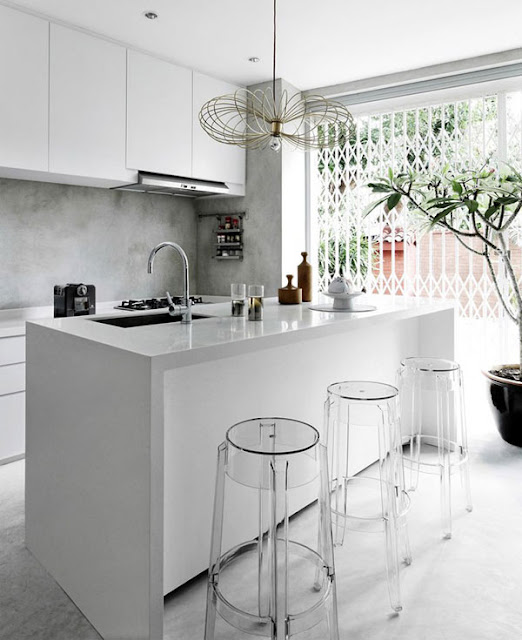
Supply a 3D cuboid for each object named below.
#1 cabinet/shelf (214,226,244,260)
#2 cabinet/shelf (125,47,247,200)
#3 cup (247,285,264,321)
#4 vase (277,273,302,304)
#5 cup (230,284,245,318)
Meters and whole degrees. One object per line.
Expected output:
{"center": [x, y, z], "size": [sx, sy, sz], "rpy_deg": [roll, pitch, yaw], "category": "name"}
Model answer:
{"center": [-0.310, -0.666, 4.806], "size": [0.132, 0.264, 0.366], "rpy_deg": [-4, 7, -38], "category": "cabinet/shelf"}
{"center": [-0.571, -1.457, 3.908], "size": [0.323, 1.011, 1.046], "rpy_deg": [-1, -1, 40], "category": "cabinet/shelf"}
{"center": [-0.027, -0.069, 2.191], "size": [0.057, 0.131, 0.215], "rpy_deg": [0, 5, -2], "category": "cup"}
{"center": [0.144, -0.164, 2.839], "size": [0.118, 0.166, 0.132], "rpy_deg": [0, 0, 15], "category": "vase"}
{"center": [-0.092, -0.080, 2.226], "size": [0.061, 0.133, 0.061], "rpy_deg": [0, 5, 0], "category": "cup"}
